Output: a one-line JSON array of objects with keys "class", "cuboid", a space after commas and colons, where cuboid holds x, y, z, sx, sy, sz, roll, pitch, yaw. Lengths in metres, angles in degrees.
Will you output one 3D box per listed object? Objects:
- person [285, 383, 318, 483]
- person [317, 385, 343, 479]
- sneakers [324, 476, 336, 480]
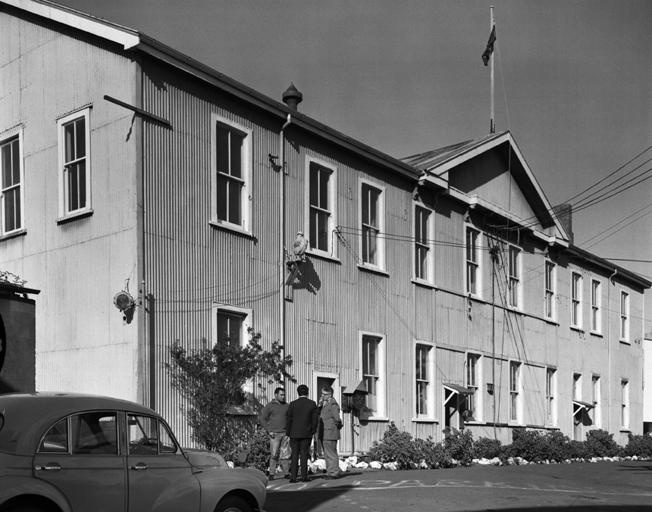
[{"class": "person", "cuboid": [-0.555, 4.326, 40.309, 0.730, 1.997, 0.532, 0, -16, -1]}, {"class": "person", "cuboid": [0.124, 4.221, 41.240, 0.527, 2.206, 0.732, -1, -16, 0]}, {"class": "sneakers", "cuboid": [0.131, 5.306, 41.049, 0.231, 0.143, 0.238, -1, -18, 0]}]
